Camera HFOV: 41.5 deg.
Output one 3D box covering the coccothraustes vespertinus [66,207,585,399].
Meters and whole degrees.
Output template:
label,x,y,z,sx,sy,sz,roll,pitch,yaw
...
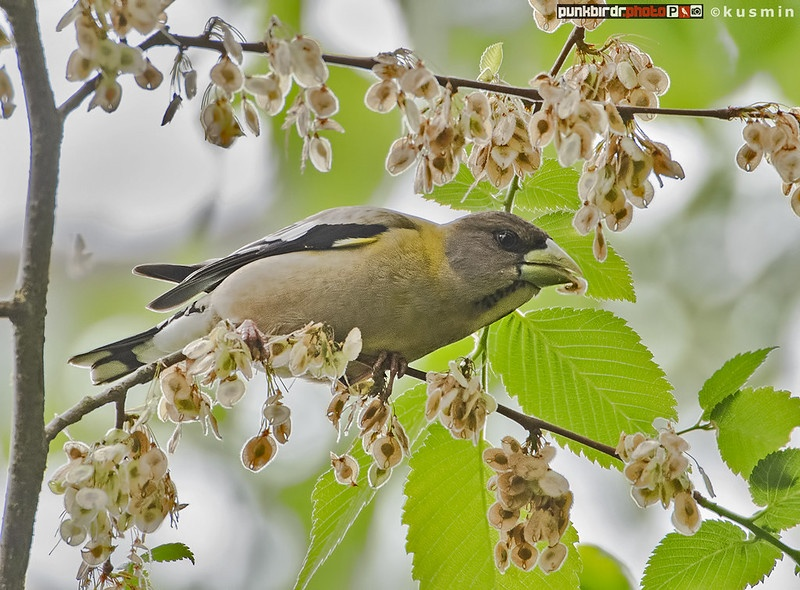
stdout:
label,x,y,z,sx,sy,sz,roll,pitch,yaw
coccothraustes vespertinus,-0.174,0.020,2.305,1.057,0.427,0.349,0,-35,23
